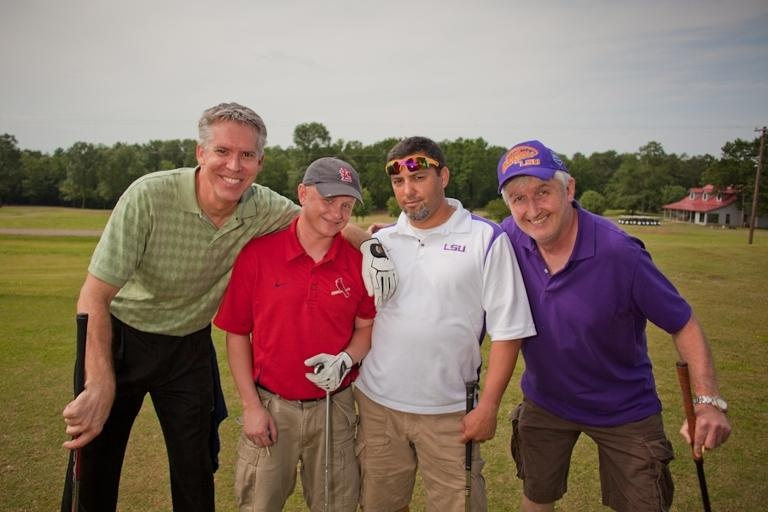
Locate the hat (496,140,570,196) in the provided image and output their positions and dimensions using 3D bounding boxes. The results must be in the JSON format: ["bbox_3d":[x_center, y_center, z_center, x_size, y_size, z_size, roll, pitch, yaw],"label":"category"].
[{"bbox_3d":[1.632,-0.987,6.945,0.722,0.563,0.384,3,7,12],"label":"hat"}]

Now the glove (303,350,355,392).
[{"bbox_3d":[-0.606,1.280,6.842,0.528,0.435,0.214,0,7,-12],"label":"glove"}]
